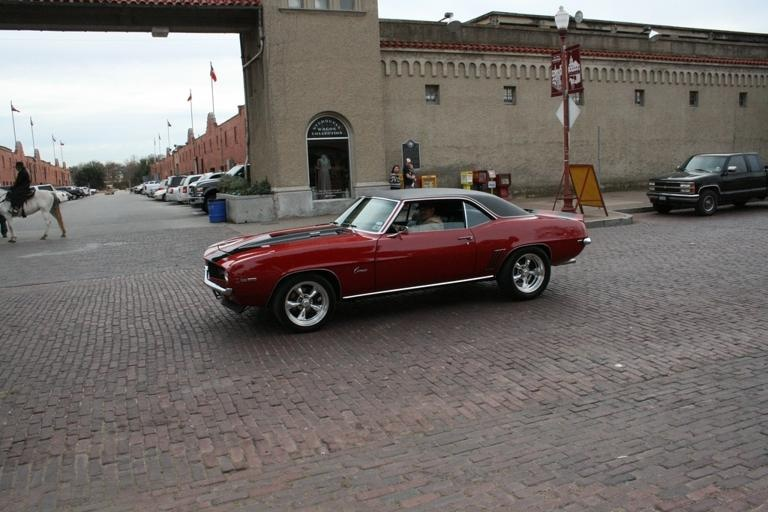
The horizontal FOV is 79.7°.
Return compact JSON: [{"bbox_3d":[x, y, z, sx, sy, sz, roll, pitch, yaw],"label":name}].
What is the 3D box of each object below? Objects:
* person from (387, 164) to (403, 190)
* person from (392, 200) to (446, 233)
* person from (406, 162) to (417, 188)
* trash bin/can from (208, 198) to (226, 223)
[{"bbox_3d":[0.469,-3.240,18.906,0.441,0.933,0.910,-2,13,3],"label":"person"},{"bbox_3d":[0.574,-0.650,7.783,0.829,0.337,0.478,-2,6,-17],"label":"person"},{"bbox_3d":[1.116,-3.471,19.516,0.388,1.093,0.624,7,16,34],"label":"person"},{"bbox_3d":[-7.612,-2.074,21.328,1.010,0.979,0.992,-5,6,-41],"label":"trash bin/can"}]
